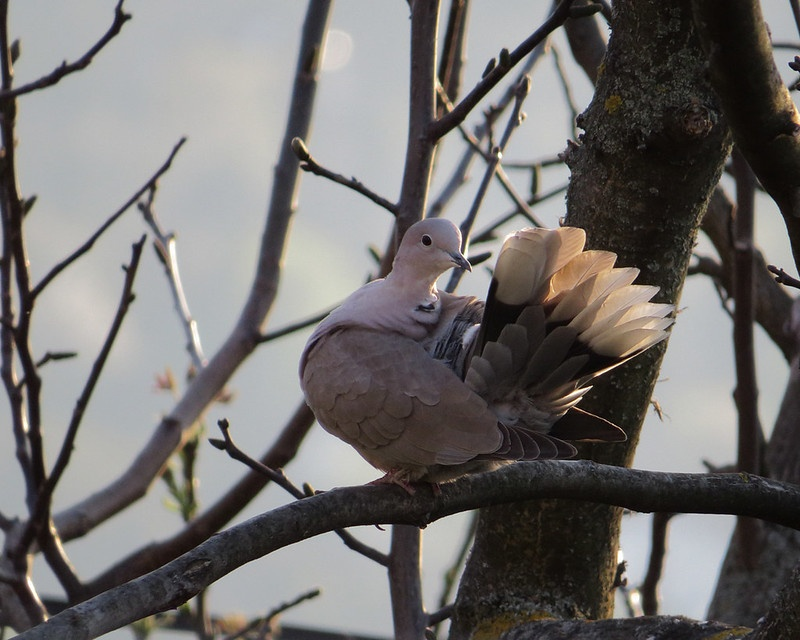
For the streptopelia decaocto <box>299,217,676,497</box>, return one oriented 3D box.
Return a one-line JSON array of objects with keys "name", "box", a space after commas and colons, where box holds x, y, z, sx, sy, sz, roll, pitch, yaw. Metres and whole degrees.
[{"name": "streptopelia decaocto", "box": [0.265, 0.167, 6.075, 0.888, 0.695, 0.678, -4, -9, 30]}]
